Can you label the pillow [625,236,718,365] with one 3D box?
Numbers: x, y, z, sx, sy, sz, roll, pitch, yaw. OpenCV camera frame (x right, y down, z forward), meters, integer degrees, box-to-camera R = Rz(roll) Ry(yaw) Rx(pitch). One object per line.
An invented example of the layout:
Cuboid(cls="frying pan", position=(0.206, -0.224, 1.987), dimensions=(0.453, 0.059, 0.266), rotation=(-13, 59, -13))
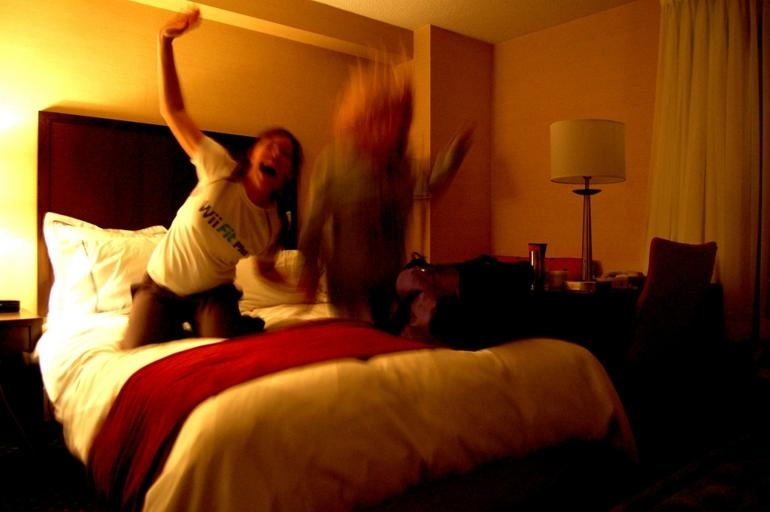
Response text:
Cuboid(cls="pillow", position=(0.914, 0.145, 1.938), dimensions=(0.353, 0.426, 0.130), rotation=(-5, 10, -40))
